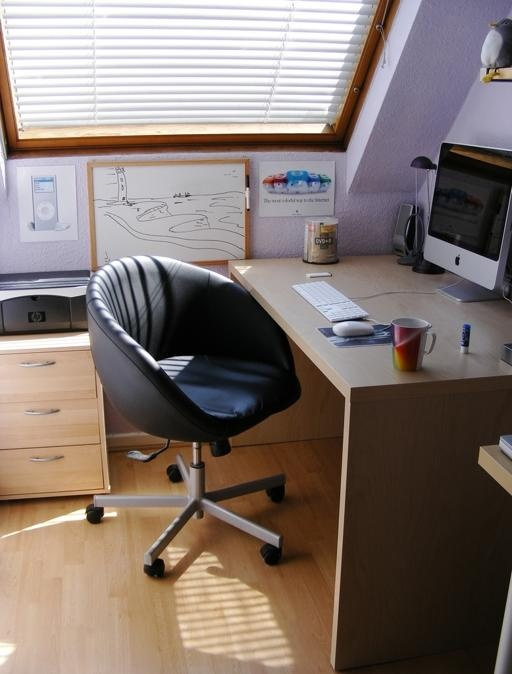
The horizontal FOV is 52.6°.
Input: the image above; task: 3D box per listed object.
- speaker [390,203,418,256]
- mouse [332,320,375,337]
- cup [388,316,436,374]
[{"bbox_3d":[0.630,-0.455,2.207,0.062,0.216,0.135,0,13,-3],"label":"speaker"},{"bbox_3d":[0.238,-0.022,1.262,0.069,0.022,0.049,1,21,-3],"label":"mouse"},{"bbox_3d":[0.301,0.011,1.081,0.115,0.117,0.094,-3,30,-1],"label":"cup"}]
